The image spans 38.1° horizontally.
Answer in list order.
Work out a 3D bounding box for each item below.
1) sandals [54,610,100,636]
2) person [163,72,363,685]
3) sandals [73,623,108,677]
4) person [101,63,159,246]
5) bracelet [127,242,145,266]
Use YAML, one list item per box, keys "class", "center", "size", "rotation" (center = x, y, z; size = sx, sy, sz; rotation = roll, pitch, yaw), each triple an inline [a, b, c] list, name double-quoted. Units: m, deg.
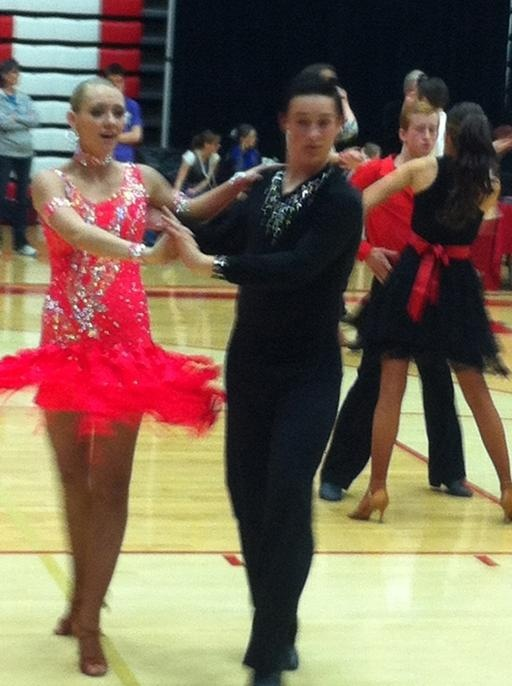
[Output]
- class: "sandals"
  center: [-0.436, 0.655, 1.771]
  size: [0.068, 0.062, 0.169]
  rotation: [5, -14, -25]
- class: "person"
  center: [-0.014, 0.090, 1.467]
  size: [0.380, 1.219, 0.375]
  rotation: [4, 4, -7]
- class: "sandals"
  center: [-0.344, 0.637, 1.534]
  size: [0.043, 0.045, 0.119]
  rotation: [0, 10, -16]
- class: "person"
  center: [-1.157, -1.890, 7.448]
  size: [0.588, 1.533, 0.519]
  rotation: [-9, 25, -11]
- class: "bracelet"
  center: [-0.230, -0.177, 1.458]
  size: [0.034, 0.032, 0.032]
  rotation: [-3, -18, 4]
